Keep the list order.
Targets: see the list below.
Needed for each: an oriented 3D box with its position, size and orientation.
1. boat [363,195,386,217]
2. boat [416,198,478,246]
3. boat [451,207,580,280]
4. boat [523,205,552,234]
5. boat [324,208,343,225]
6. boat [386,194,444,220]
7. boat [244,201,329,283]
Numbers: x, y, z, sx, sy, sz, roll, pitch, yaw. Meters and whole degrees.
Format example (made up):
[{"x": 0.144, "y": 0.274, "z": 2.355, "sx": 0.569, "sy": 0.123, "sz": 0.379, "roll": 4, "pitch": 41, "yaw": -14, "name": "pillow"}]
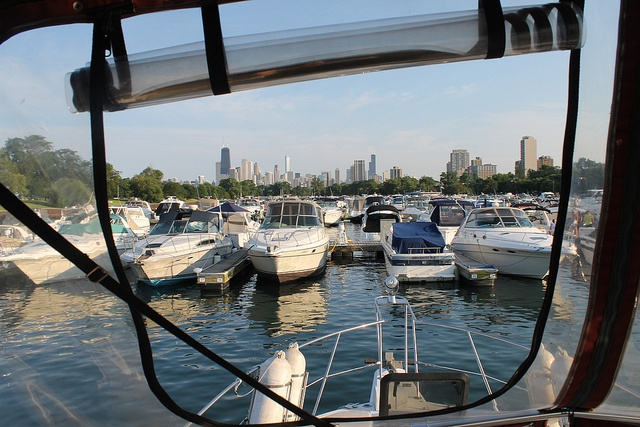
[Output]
[{"x": 4.340, "y": -1.004, "z": 36.001, "sx": 1.370, "sy": 0.926, "sz": 2.091, "roll": -2, "pitch": -7, "yaw": -2, "name": "boat"}, {"x": 5.041, "y": 0.168, "z": 17.385, "sx": 1.632, "sy": 1.202, "sz": 2.704, "roll": 0, "pitch": 8, "yaw": 5, "name": "boat"}, {"x": 5.640, "y": 0.824, "z": 13.659, "sx": 1.252, "sy": 1.880, "sz": 3.343, "roll": -6, "pitch": 9, "yaw": -21, "name": "boat"}, {"x": 6.085, "y": 0.188, "z": 12.708, "sx": 0.611, "sy": 0.687, "sz": 1.953, "roll": -7, "pitch": -12, "yaw": 32, "name": "boat"}, {"x": 0.937, "y": 0.173, "z": 33.239, "sx": 1.166, "sy": 1.058, "sz": 3.247, "roll": -3, "pitch": -4, "yaw": 2, "name": "boat"}, {"x": 7.355, "y": -0.533, "z": 35.063, "sx": 2.090, "sy": 1.901, "sz": 6.913, "roll": 0, "pitch": -1, "yaw": 5, "name": "boat"}, {"x": -0.986, "y": 0.879, "z": 13.958, "sx": 2.140, "sy": 2.418, "sz": 2.645, "roll": -1, "pitch": 9, "yaw": 10, "name": "boat"}]
